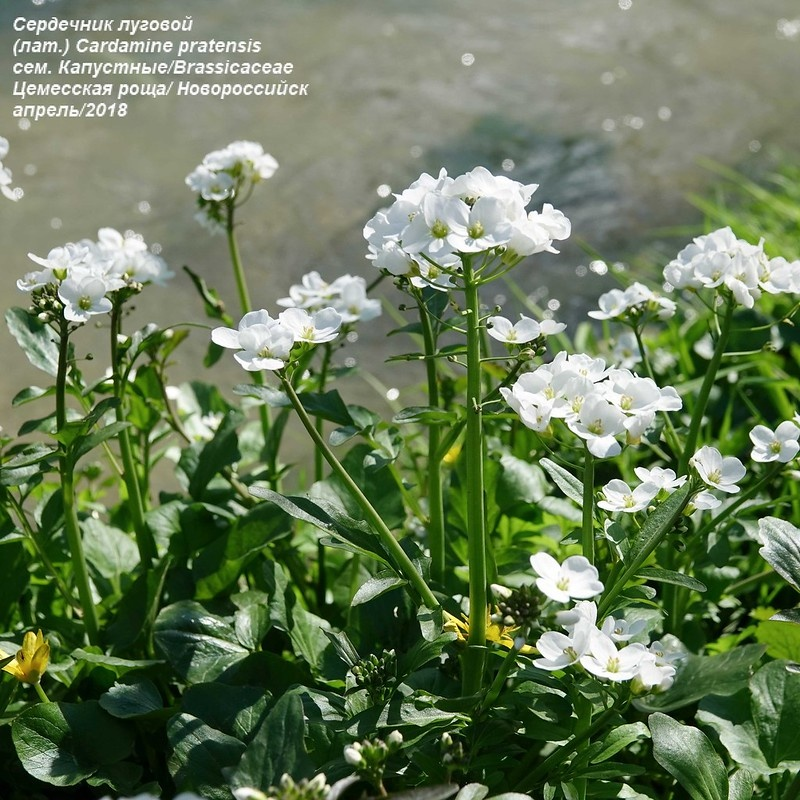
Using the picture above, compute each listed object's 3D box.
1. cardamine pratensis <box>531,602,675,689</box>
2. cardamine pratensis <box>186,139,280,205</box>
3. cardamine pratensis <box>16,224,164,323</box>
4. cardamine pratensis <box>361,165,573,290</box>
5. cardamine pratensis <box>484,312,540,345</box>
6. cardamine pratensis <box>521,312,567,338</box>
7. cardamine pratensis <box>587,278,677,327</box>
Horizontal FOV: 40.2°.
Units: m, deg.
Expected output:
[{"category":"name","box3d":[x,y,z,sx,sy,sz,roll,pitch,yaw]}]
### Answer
[{"category":"cardamine pratensis","box3d":[0.341,0.413,1.824,0.207,0.065,0.185,26,22,-5]},{"category":"cardamine pratensis","box3d":[-0.426,-0.537,2.585,0.173,0.117,0.215,1,23,22]},{"category":"cardamine pratensis","box3d":[-0.542,-0.256,2.158,0.308,0.079,0.273,-17,28,-19]},{"category":"cardamine pratensis","box3d":[0.109,-0.284,1.950,0.324,0.106,0.265,-2,46,-10]},{"category":"cardamine pratensis","box3d":[0.214,-0.135,2.070,0.084,0.026,0.063,0,33,1]},{"category":"cardamine pratensis","box3d":[0.268,-0.139,2.086,0.070,0.025,0.061,3,-1,7]},{"category":"cardamine pratensis","box3d":[0.521,-0.200,2.448,0.149,0.054,0.126,11,19,-18]}]
